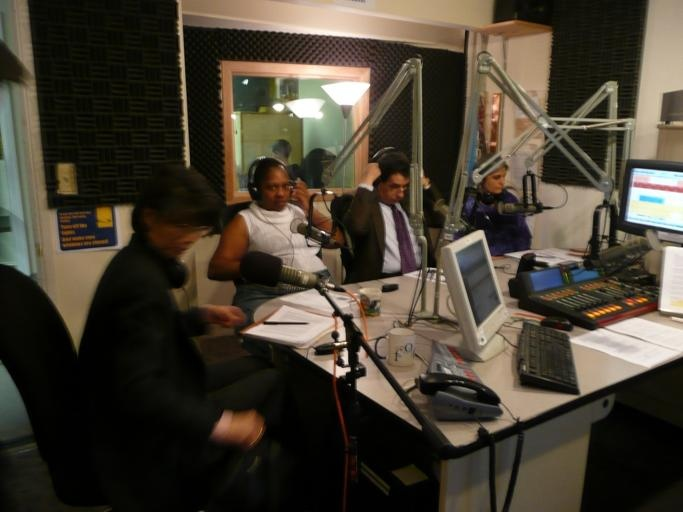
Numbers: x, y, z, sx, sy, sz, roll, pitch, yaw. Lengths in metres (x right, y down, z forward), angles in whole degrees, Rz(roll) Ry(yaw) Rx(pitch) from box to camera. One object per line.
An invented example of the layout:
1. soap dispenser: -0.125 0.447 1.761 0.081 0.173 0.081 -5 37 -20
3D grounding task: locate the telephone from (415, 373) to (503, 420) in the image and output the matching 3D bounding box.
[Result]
1. telephone: 0.382 0.472 1.914 0.356 0.127 0.261 17 -11 -34

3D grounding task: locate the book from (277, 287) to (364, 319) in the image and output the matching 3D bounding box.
1. book: -0.090 0.219 2.645 0.219 0.054 0.224 13 18 40

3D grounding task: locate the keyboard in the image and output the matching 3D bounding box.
1. keyboard: 0.809 0.382 2.166 0.219 0.077 0.474 8 20 17

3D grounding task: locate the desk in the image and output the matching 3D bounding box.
1. desk: 0.449 0.374 2.008 1.417 0.908 0.649 -11 15 -28

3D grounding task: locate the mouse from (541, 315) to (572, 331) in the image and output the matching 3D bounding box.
1. mouse: 0.962 0.296 2.423 0.086 0.030 0.063 10 10 35

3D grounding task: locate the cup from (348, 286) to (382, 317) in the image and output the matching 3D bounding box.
1. cup: 0.116 0.207 2.562 0.114 0.129 0.131 -5 9 -27

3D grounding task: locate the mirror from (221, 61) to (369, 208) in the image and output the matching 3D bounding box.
1. mirror: -0.365 -0.845 3.732 1.195 1.024 0.084 -4 11 -25

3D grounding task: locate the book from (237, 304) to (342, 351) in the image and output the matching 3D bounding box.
1. book: -0.208 0.307 2.327 0.236 0.038 0.263 10 25 27

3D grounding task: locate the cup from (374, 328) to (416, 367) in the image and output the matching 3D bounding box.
1. cup: 0.206 0.357 2.110 0.165 0.133 0.106 1 3 16

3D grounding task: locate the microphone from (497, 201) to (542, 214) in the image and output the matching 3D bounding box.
1. microphone: 1.066 -0.281 3.273 0.269 0.083 0.105 -1 2 -15

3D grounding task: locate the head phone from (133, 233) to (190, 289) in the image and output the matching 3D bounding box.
1. head phone: -0.544 0.010 1.619 0.181 0.066 0.181 43 -13 -16

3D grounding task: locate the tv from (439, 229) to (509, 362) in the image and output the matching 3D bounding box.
1. tv: 0.531 0.181 2.223 0.144 0.446 0.410 -11 15 29

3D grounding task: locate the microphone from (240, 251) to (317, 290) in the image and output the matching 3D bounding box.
1. microphone: -0.211 0.060 1.864 0.248 0.106 0.117 13 -18 -10

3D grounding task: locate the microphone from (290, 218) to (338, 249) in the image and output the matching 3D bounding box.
1. microphone: -0.172 -0.131 3.149 0.271 0.080 0.082 28 9 -29
